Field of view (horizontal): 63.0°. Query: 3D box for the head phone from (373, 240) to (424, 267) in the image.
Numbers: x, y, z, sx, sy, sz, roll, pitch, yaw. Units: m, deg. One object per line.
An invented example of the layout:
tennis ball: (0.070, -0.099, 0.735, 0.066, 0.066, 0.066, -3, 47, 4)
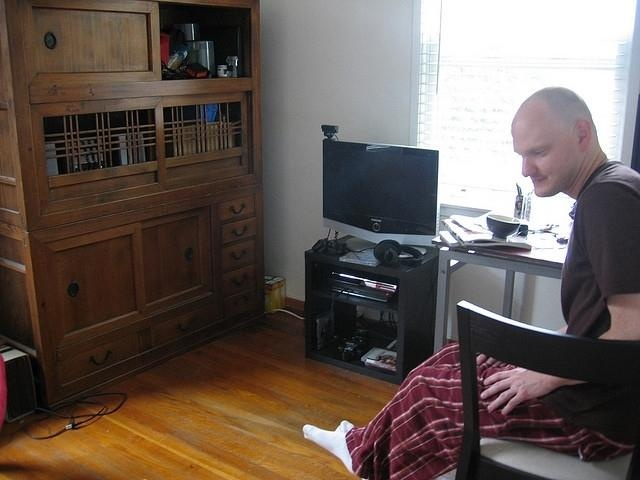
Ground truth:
head phone: (0.429, 0.071, 2.866, 0.190, 0.089, 0.169, 4, 25, -19)

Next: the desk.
desk: (0.896, 0.334, 2.745, 0.637, 0.617, 0.646, 9, 8, 13)

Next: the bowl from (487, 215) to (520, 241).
bowl: (0.863, -0.043, 2.512, 0.133, 0.085, 0.132, 9, 18, -3)

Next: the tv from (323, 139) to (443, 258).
tv: (0.367, -0.240, 2.977, 0.638, 0.489, 0.084, 13, 21, 34)
